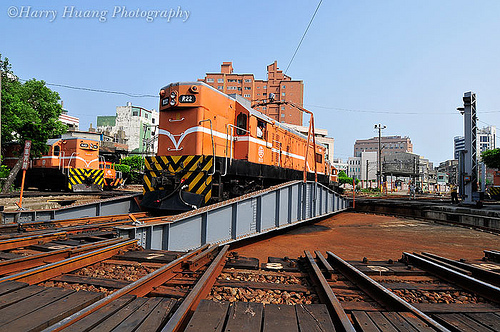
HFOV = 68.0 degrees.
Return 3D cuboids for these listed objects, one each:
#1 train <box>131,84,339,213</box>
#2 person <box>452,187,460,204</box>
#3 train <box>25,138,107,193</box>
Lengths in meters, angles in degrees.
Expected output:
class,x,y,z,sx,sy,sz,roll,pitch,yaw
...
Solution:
class,x,y,z,sx,sy,sz,roll,pitch,yaw
train,1.160,-0.261,16.066,3.229,3.882,11.294,-4,-7,37
person,12.797,1.820,23.143,0.357,1.094,1.333,3,1,33
train,-13.242,0.030,25.792,5.946,2.869,2.969,-3,-5,31
